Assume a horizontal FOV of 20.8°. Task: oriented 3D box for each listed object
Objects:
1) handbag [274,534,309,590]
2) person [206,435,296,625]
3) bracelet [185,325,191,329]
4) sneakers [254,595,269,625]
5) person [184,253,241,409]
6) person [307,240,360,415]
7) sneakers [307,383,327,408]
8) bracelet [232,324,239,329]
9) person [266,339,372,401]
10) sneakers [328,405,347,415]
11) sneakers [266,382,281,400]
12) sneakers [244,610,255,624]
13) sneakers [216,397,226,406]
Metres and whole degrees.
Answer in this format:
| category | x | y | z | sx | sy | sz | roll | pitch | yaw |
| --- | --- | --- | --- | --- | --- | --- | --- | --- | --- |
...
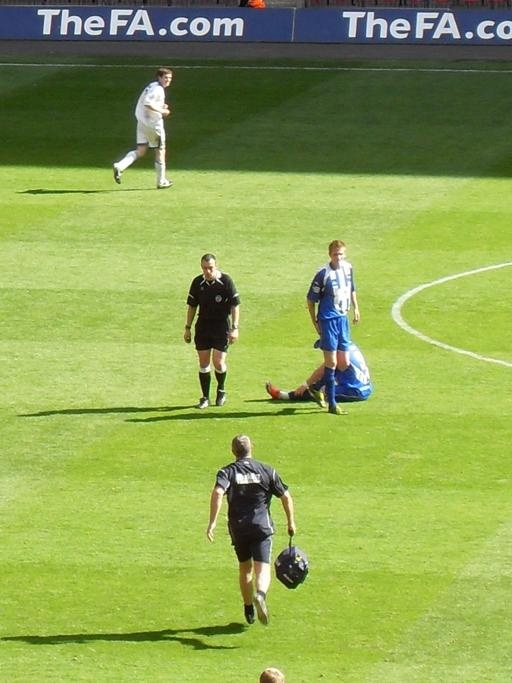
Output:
| category | x | y | z | sx | sy | sz | roll | pitch | yaw |
| --- | --- | --- | --- | --- | --- | --- | --- | --- | --- |
| handbag | 0.234 | 1.763 | 10.836 | 0.236 | 0.286 | 0.313 | -7 | -7 | 6 |
| person | -0.045 | 1.512 | 10.678 | 0.575 | 1.488 | 0.605 | 1 | 9 | 14 |
| bracelet | -0.746 | -0.136 | 15.017 | 0.043 | 0.044 | 0.052 | 1 | -14 | 3 |
| sneakers | 0.020 | 2.023 | 10.503 | 0.085 | 0.257 | 0.116 | -3 | 4 | 35 |
| person | -0.482 | -0.083 | 15.013 | 0.562 | 1.726 | 0.804 | -1 | 9 | -1 |
| person | 0.799 | -0.122 | 14.936 | 0.563 | 1.879 | 0.349 | -3 | 9 | -11 |
| sneakers | 0.658 | 0.648 | 15.344 | 0.162 | 0.364 | 0.121 | -14 | 30 | 11 |
| bracelet | -0.237 | -0.147 | 15.112 | 0.092 | 0.064 | 0.109 | 0 | -2 | -3 |
| person | 0.683 | 0.367 | 15.747 | 1.170 | 0.853 | 0.556 | -6 | -3 | 13 |
| sneakers | 0.859 | 0.746 | 15.110 | 0.161 | 0.065 | 0.093 | 5 | 9 | 16 |
| sneakers | 0.176 | 0.553 | 15.547 | 0.158 | 0.209 | 0.380 | -1 | 8 | -1 |
| sneakers | -0.055 | 2.131 | 10.883 | 0.051 | 0.145 | 0.062 | -3 | 21 | -2 |
| sneakers | -0.399 | 0.674 | 15.391 | 0.094 | 0.120 | 0.264 | -1 | 1 | -1 |
